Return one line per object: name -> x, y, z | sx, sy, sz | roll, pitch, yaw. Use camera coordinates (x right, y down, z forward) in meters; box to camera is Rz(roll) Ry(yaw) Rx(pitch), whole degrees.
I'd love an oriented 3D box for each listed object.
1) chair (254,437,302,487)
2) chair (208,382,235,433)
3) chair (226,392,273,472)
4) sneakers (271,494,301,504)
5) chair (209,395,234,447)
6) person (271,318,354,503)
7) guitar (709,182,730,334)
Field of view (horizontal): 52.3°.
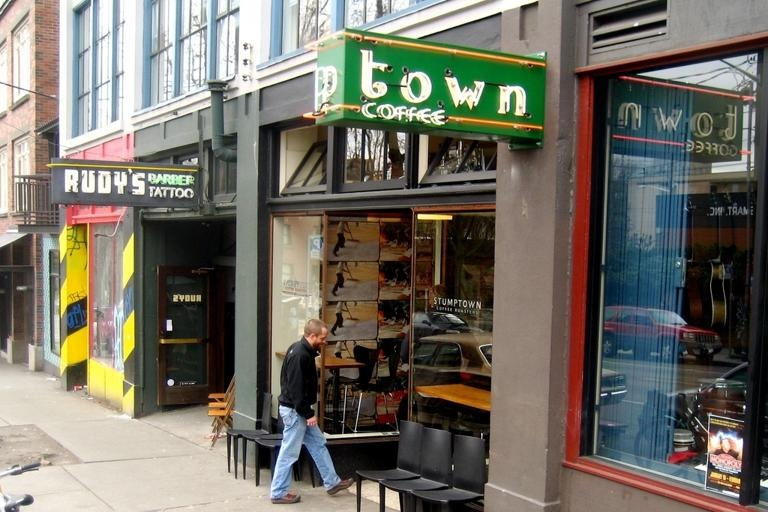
chair -> -1.498, 2.856, 11.076 | 0.624, 0.682, 0.620 | -6, -13, 35
chair -> -2.915, 2.663, 13.876 | 0.488, 0.810, 1.177 | 1, 1, -12
chair -> -2.023, 2.568, 11.419 | 0.658, 0.984, 0.622 | 2, -3, -26
sneakers -> -1.297, 3.132, 10.222 | 0.358, 0.153, 0.136 | -1, 2, -12
chair -> -2.920, 2.713, 13.740 | 0.347, 0.604, 0.932 | 16, -22, -2
person -> -1.053, 1.995, 10.207 | 0.866, 2.395, 0.539 | 0, 1, -8
guitar -> 3.133, 0.003, 7.300 | 0.083, 1.364, 0.298 | 0, 1, -33
